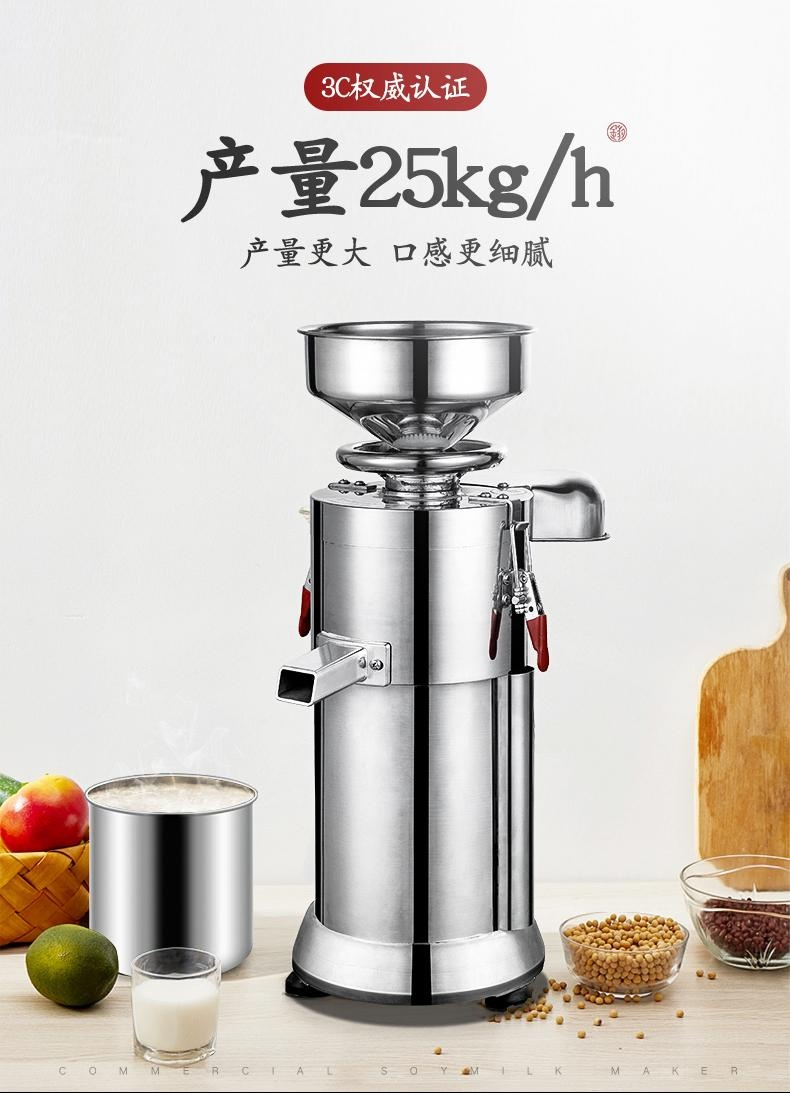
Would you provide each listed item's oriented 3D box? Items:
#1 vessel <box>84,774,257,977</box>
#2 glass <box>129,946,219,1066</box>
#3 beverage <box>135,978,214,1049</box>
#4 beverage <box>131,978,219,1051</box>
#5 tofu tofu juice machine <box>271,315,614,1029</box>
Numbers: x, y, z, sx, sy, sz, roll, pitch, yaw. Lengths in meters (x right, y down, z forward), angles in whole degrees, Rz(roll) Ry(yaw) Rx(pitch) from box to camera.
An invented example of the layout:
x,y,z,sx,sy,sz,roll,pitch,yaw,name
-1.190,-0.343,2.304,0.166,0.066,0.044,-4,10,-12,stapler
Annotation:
x,y,z,sx,sy,sz,roll,pitch,yaw,name
-0.222,0.331,1.225,0.166,0.182,0.134,0,2,-13,vessel
-0.185,0.393,1.082,0.100,0.082,0.082,-2,6,-21,glass
-0.184,0.384,1.044,0.072,0.044,0.066,0,2,-11,beverage
-0.178,0.389,1.033,0.075,0.048,0.068,0,2,0,beverage
0.053,0.104,1.146,0.322,0.646,0.267,0,2,-5,tofu tofu juice machine
